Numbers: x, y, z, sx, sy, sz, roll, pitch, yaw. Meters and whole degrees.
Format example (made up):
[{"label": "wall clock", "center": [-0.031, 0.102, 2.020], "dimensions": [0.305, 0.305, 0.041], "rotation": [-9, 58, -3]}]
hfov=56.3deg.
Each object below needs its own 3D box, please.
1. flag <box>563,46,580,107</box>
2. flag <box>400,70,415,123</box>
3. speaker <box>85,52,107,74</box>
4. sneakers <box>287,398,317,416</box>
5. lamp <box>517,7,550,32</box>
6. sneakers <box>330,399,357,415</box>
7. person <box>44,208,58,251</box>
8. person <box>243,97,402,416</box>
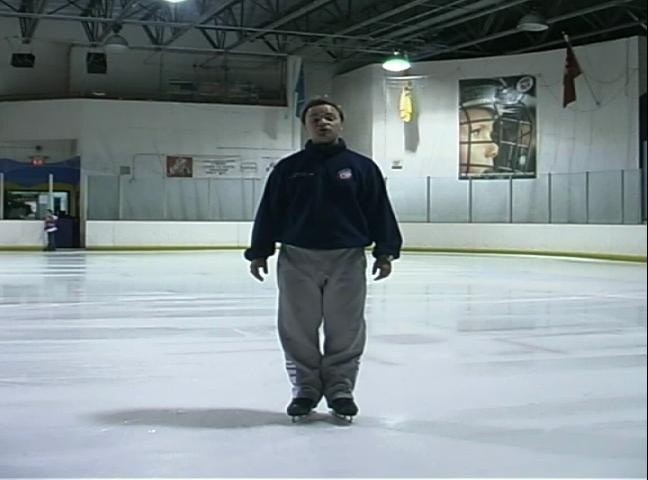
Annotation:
[{"label": "flag", "center": [7.027, -4.619, 17.135], "dimensions": [0.449, 1.527, 1.453], "rotation": [1, 3, 21]}, {"label": "flag", "center": [2.763, -4.592, 20.100], "dimensions": [0.528, 1.463, 0.214], "rotation": [1, 2, 16]}, {"label": "speaker", "center": [-8.215, -6.361, 22.155], "dimensions": [0.773, 0.705, 0.726], "rotation": [1, -3, 2]}, {"label": "sneakers", "center": [-0.124, 0.925, 3.352], "dimensions": [0.071, 0.073, 0.182], "rotation": [-5, -16, 22]}, {"label": "lamp", "center": [4.778, -4.990, 13.839], "dimensions": [0.596, 0.376, 0.438], "rotation": [1, 3, 16]}, {"label": "sneakers", "center": [0.112, 0.909, 3.325], "dimensions": [0.065, 0.068, 0.177], "rotation": [5, -11, -28]}, {"label": "person", "center": [-8.459, -0.303, 18.759], "dimensions": [0.329, 1.273, 0.782], "rotation": [-1, 3, -25]}, {"label": "person", "center": [-0.013, 0.089, 3.449], "dimensions": [0.895, 1.794, 0.417], "rotation": [0, 2, 7]}]
